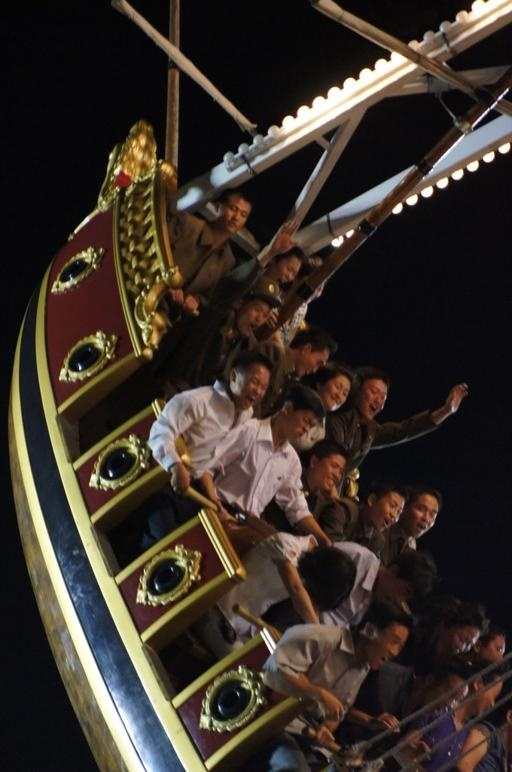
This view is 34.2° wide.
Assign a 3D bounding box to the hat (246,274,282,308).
[{"bbox_3d":[0.080,-0.629,5.499,0.108,0.202,0.414,-4,16,22],"label":"hat"}]
